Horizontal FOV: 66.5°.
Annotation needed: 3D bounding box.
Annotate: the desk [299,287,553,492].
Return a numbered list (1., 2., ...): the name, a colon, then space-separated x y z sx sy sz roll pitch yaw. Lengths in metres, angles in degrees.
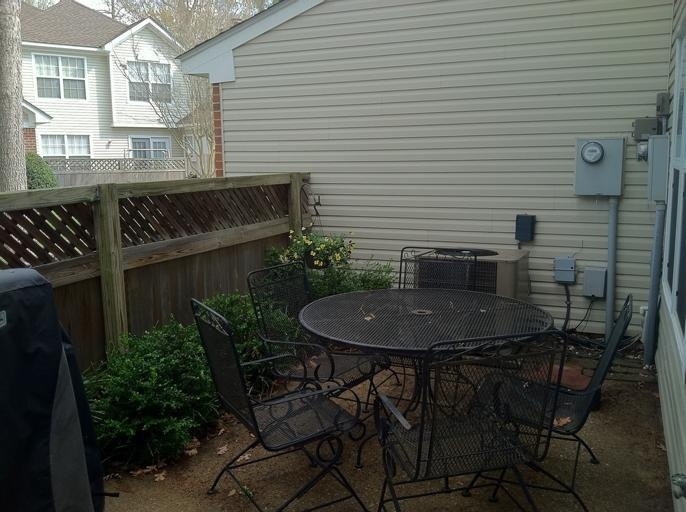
1. desk: 0.486 0.821 3.174 1.110 0.429 1.111 0 6 3

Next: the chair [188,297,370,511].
1. chair: -0.364 0.858 3.129 0.852 1.258 1.021 -8 14 -30

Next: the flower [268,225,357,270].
1. flower: -0.344 -0.057 6.097 0.620 0.280 0.626 1 12 13
